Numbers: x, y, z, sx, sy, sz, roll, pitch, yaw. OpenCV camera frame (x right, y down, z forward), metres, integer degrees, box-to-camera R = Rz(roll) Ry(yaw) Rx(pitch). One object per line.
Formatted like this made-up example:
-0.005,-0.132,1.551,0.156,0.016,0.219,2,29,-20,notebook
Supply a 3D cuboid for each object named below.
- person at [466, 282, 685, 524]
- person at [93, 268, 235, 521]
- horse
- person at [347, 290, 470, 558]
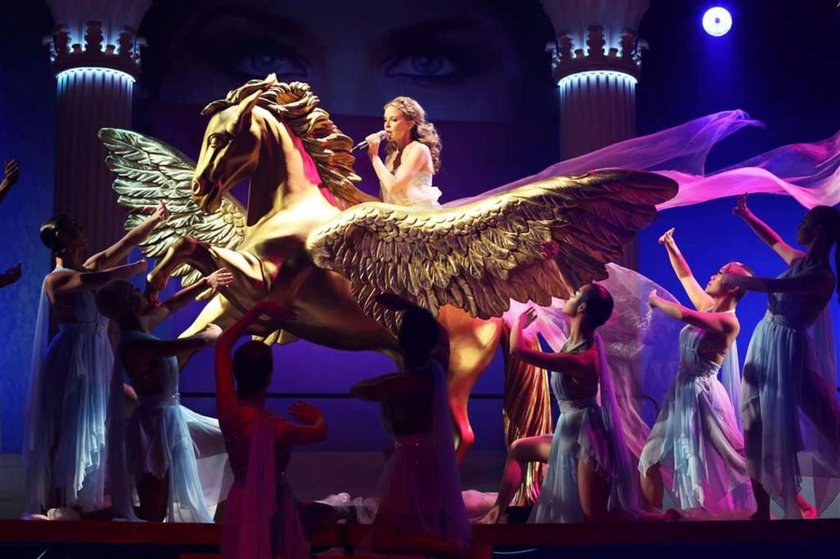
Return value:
0.999,0.800,6.147,1.085,1.480,0.759,-6,-21,13,person
-1.695,0.824,6.254,0.792,1.518,0.881,0,-21,-2,person
-0.099,-0.266,6.257,2.339,1.673,3.520,23,-31,-38,horse
-0.046,0.840,5.676,0.568,1.553,0.698,-7,-22,15,person
